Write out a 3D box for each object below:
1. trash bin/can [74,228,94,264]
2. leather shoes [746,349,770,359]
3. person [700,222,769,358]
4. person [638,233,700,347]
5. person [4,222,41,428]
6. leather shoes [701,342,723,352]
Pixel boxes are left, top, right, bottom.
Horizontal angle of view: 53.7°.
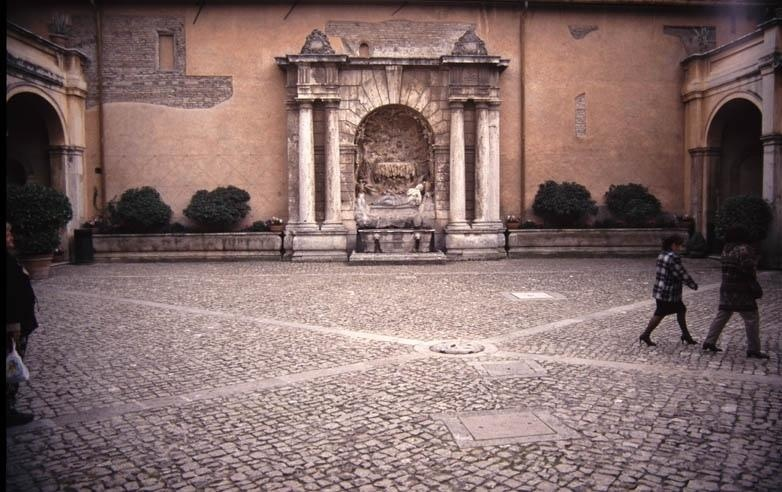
[{"bbox_3d":[-10.928,-0.006,27.428,0.630,1.216,0.349,-2,5,-27],"label":"trash bin/can"},{"bbox_3d":[8.026,2.345,16.840,0.513,0.191,0.165,-1,3,4],"label":"leather shoes"},{"bbox_3d":[7.722,0.974,17.060,1.292,2.845,0.755,2,5,24],"label":"person"},{"bbox_3d":[6.388,0.970,17.563,1.225,2.459,1.120,2,5,19],"label":"person"},{"bbox_3d":[-7.464,1.526,15.549,0.567,3.902,1.171,-2,5,-23],"label":"person"},{"bbox_3d":[7.115,2.231,17.099,0.504,0.209,0.158,0,3,1],"label":"leather shoes"}]
